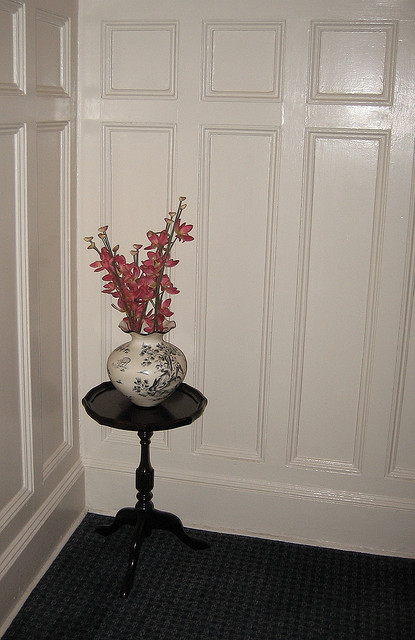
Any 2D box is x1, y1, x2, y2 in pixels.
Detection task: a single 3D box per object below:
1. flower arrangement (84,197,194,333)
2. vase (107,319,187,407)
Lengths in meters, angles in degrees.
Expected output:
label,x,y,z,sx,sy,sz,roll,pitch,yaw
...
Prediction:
label,x,y,z,sx,sy,sz,roll,pitch,yaw
flower arrangement,-0.229,-0.219,1.890,0.448,0.619,0.263,0,40,-1
vase,-0.201,0.142,1.779,0.261,0.280,0.247,-11,16,-42
